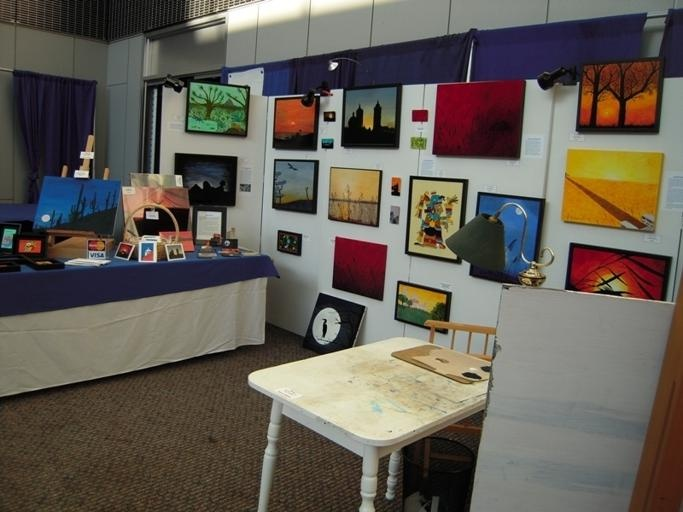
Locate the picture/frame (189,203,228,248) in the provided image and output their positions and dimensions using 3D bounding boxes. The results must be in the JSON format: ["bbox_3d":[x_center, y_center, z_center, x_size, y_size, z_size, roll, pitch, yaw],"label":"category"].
[{"bbox_3d":[-1.448,-0.335,5.281,0.346,0.403,0.229,-1,13,-20],"label":"picture/frame"}]

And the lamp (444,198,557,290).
[{"bbox_3d":[0.802,-0.076,2.575,0.523,0.422,0.301,16,-4,19],"label":"lamp"}]

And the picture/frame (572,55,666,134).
[{"bbox_3d":[1.858,-1.127,3.428,0.539,0.544,0.060,12,15,39],"label":"picture/frame"}]

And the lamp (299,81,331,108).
[{"bbox_3d":[-0.339,-1.715,5.117,0.335,0.248,0.213,11,14,25],"label":"lamp"}]

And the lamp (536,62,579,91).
[{"bbox_3d":[1.540,-1.353,3.688,0.306,0.183,0.172,5,14,35],"label":"lamp"}]

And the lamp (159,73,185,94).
[{"bbox_3d":[-1.769,-1.843,5.155,0.198,0.176,0.267,0,14,-17],"label":"lamp"}]

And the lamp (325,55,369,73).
[{"bbox_3d":[0.025,-2.223,5.518,0.522,0.207,0.211,9,31,0],"label":"lamp"}]

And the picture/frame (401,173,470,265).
[{"bbox_3d":[0.742,-0.329,4.165,0.704,1.002,0.042,7,7,38],"label":"picture/frame"}]

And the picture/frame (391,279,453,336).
[{"bbox_3d":[0.671,0.464,4.406,0.047,0.365,0.484,-8,14,-44],"label":"picture/frame"}]

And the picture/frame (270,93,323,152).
[{"bbox_3d":[-0.524,-1.472,5.358,0.632,0.639,0.068,8,6,37],"label":"picture/frame"}]

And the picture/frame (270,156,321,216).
[{"bbox_3d":[-0.539,-0.800,5.432,0.610,0.615,0.063,9,13,40],"label":"picture/frame"}]

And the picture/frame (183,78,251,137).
[{"bbox_3d":[-1.397,-1.621,5.358,0.663,0.596,0.072,0,8,-31],"label":"picture/frame"}]

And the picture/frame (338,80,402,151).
[{"bbox_3d":[0.220,-1.364,4.765,0.104,0.660,0.711,-3,6,-44],"label":"picture/frame"}]
